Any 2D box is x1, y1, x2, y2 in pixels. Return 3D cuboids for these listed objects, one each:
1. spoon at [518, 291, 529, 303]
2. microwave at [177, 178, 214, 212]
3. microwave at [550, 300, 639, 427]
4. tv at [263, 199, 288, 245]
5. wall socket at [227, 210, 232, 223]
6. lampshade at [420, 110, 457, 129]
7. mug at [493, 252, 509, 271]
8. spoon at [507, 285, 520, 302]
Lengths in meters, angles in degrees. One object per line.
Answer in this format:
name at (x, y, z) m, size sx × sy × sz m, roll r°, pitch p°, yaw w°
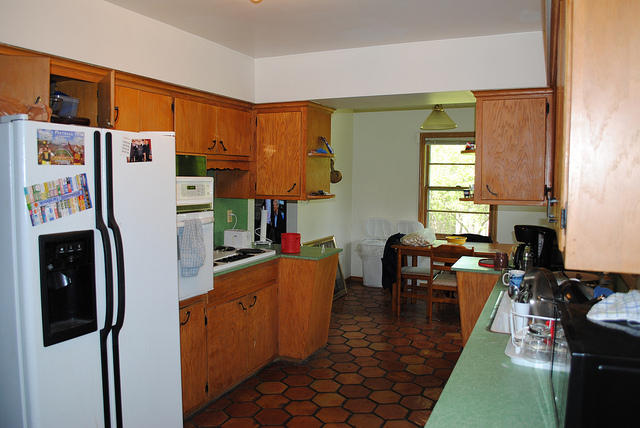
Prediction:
spoon at (1.124, 0.459, 2.479) m, size 0.014 × 0.055 × 0.057 m, roll 34°, pitch -23°, yaw -20°
microwave at (-1.123, -0.155, 3.690) m, size 0.260 × 0.296 × 0.448 m, roll 2°, pitch 5°, yaw 32°
microwave at (0.931, 0.503, 1.504) m, size 0.248 × 0.312 × 0.486 m, roll 2°, pitch 7°, yaw 21°
tv at (-0.595, 0.095, 5.960) m, size 0.299 × 0.606 × 0.349 m, roll 1°, pitch 8°, yaw -2°
wall socket at (-0.976, 0.018, 4.824) m, size 0.012 × 0.136 × 0.074 m, roll 5°, pitch 9°, yaw 27°
lampshade at (1.414, -1.110, 5.353) m, size 0.277 × 0.154 × 0.282 m, roll 0°, pitch 2°, yaw 22°
mug at (1.628, 0.414, 4.031) m, size 0.110 × 0.151 × 0.282 m, roll 5°, pitch 9°, yaw 24°
spoon at (1.227, 0.496, 2.855) m, size 0.053 × 0.139 × 0.112 m, roll 6°, pitch 2°, yaw 23°
